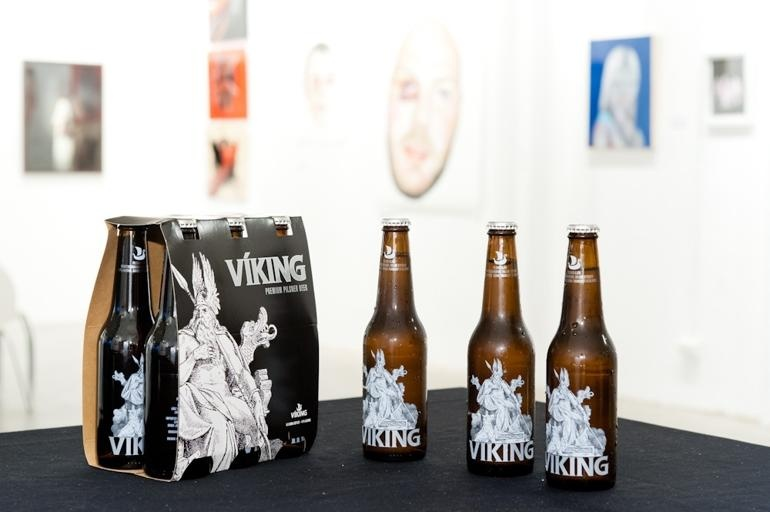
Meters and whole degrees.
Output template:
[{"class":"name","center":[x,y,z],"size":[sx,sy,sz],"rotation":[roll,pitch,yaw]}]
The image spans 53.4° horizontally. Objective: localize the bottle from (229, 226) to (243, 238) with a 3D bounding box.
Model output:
[{"class":"bottle","center":[-0.250,-0.040,1.289],"size":[0.018,0.017,0.018],"rotation":[2,6,22]}]

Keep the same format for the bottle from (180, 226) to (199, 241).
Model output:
[{"class":"bottle","center":[-0.314,-0.036,1.240],"size":[0.026,0.019,0.018],"rotation":[0,-2,-40]}]

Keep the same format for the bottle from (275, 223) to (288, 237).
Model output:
[{"class":"bottle","center":[-0.178,-0.044,1.331],"size":[0.021,0.020,0.010],"rotation":[-3,10,-15]}]

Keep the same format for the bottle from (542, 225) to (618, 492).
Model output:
[{"class":"bottle","center":[0.306,0.156,1.183],"size":[0.105,0.398,0.088],"rotation":[2,10,11]}]
